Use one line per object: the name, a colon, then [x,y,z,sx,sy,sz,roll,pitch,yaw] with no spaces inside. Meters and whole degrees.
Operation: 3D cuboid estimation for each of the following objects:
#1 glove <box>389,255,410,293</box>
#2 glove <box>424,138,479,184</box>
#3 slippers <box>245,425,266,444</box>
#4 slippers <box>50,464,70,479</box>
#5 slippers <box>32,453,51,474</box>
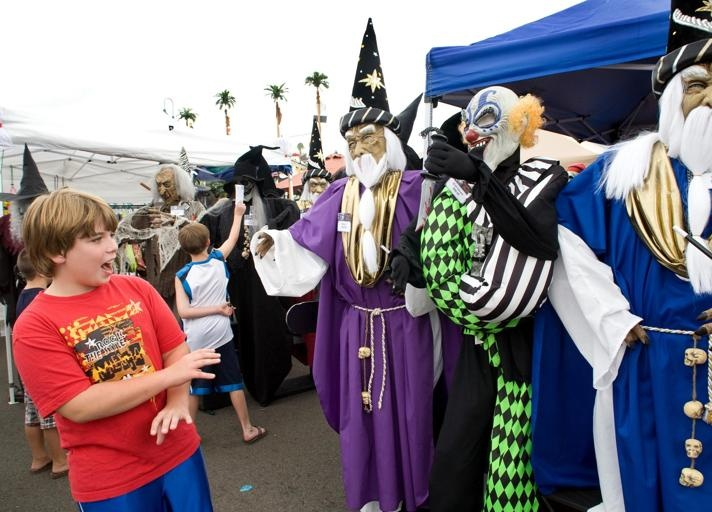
glove: [0.238,0.115,3.275,0.125,0.195,0.058,-7,3,-31]
glove: [0.491,-0.480,2.891,0.247,0.190,0.129,21,16,11]
slippers: [-0.811,1.427,4.506,0.078,0.074,0.183,1,6,23]
slippers: [-2.183,1.558,4.098,0.067,0.094,0.134,3,4,14]
slippers: [-2.352,1.556,4.211,0.079,0.115,0.161,2,4,21]
